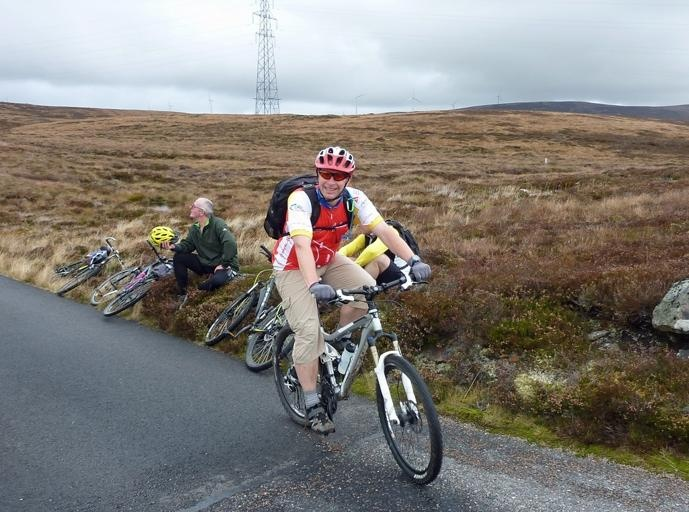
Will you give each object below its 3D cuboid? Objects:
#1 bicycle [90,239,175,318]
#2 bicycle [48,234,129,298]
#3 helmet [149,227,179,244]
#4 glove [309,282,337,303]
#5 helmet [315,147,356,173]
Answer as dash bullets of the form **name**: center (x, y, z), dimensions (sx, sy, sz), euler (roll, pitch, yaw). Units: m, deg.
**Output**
- **bicycle**: center (-5.020, 0.728, 11.687), dimensions (2.544, 1.169, 1.565), euler (9, 40, 47)
- **bicycle**: center (-6.635, 0.299, 13.102), dimensions (1.526, 1.191, 2.462), euler (-43, 21, -31)
- **helmet**: center (-3.646, -0.393, 10.264), dimensions (0.490, 0.361, 0.497), euler (-3, 11, -17)
- **glove**: center (-0.238, 0.359, 5.023), dimensions (0.163, 0.099, 0.217), euler (4, 4, -37)
- **helmet**: center (-0.111, -1.027, 5.479), dimensions (0.390, 0.279, 0.297), euler (-1, 10, -6)
